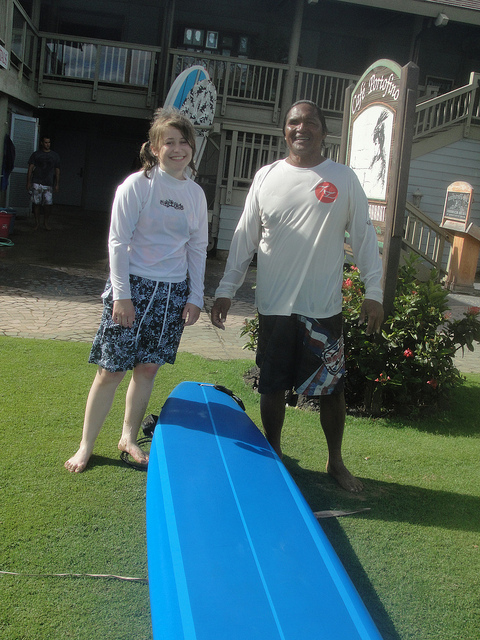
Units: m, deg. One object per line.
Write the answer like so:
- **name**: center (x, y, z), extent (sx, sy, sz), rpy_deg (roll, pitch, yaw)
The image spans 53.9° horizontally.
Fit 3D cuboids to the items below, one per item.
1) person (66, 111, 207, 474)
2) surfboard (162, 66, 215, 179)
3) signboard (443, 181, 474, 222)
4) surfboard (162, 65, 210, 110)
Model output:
- **person**: center (-0.457, -0.125, 2.280), extent (0.570, 1.739, 0.337), rpy_deg (1, 8, -40)
- **surfboard**: center (-0.708, -2.823, 6.833), extent (0.606, 2.266, 0.459), rpy_deg (11, -38, -16)
- **signboard**: center (5.346, -2.914, 11.630), extent (0.281, 1.027, 0.913), rpy_deg (4, 7, -21)
- **surfboard**: center (-0.792, -3.409, 6.854), extent (0.441, 0.737, 0.180), rpy_deg (1, 36, -50)
